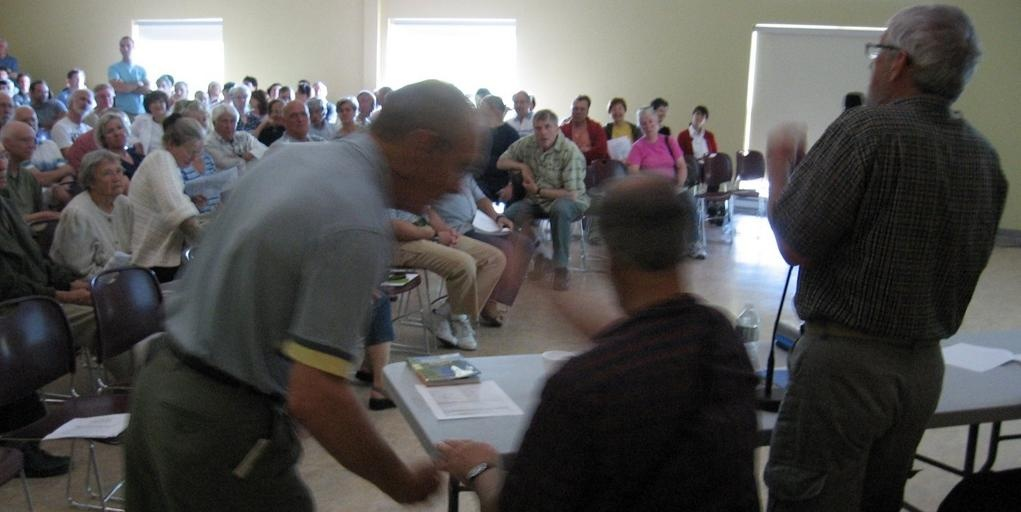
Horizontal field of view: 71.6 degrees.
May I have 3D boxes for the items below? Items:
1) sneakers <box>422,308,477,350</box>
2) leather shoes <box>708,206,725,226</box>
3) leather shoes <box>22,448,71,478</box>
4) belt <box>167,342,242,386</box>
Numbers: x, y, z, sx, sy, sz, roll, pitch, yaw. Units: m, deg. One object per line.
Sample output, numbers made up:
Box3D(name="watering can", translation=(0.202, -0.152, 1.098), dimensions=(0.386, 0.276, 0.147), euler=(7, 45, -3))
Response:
Box3D(name="sneakers", translation=(-0.479, 0.619, 5.875), dimensions=(0.482, 0.190, 0.260), euler=(33, 13, 17))
Box3D(name="leather shoes", translation=(3.054, -0.586, 10.523), dimensions=(0.291, 0.267, 0.240), euler=(8, -8, -21))
Box3D(name="leather shoes", translation=(-2.833, 1.241, 4.327), dimensions=(0.225, 0.186, 0.177), euler=(-5, 13, -17))
Box3D(name="belt", translation=(-1.219, 0.451, 2.815), dimensions=(0.184, 0.040, 0.182), euler=(22, -7, 3))
